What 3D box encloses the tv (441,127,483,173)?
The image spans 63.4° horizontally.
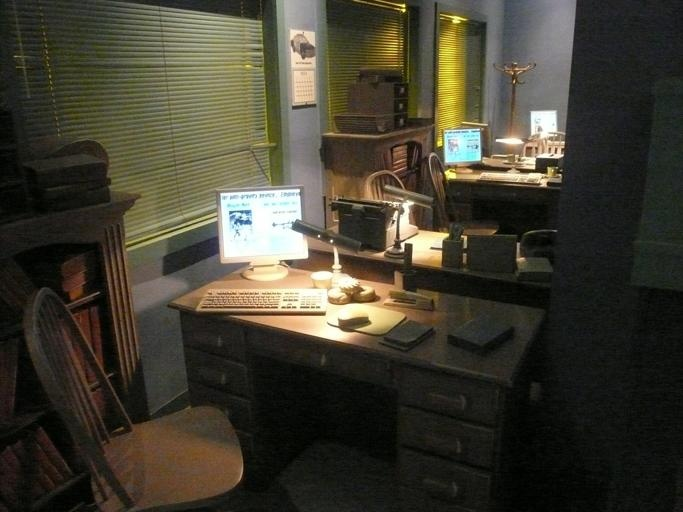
[{"bbox_3d":[0.799,-0.728,3.776,0.346,0.298,0.103,-10,14,-31],"label":"tv"}]

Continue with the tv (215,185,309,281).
[{"bbox_3d":[-0.282,-0.080,1.935,0.361,0.314,0.153,-6,10,-41],"label":"tv"}]

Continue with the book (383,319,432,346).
[{"bbox_3d":[0.183,0.206,1.477,0.064,0.017,0.083,12,24,42],"label":"book"}]

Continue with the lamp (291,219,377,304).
[{"bbox_3d":[-0.032,0.002,1.748,0.244,0.219,0.162,-1,5,-3],"label":"lamp"}]

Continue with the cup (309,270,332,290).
[{"bbox_3d":[-0.066,0.079,1.846,0.061,0.036,0.059,-2,18,1],"label":"cup"}]

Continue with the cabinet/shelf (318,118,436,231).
[{"bbox_3d":[0.262,-0.468,3.480,0.326,0.662,0.799,12,21,29],"label":"cabinet/shelf"}]

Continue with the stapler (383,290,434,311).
[{"bbox_3d":[0.213,0.127,1.670,0.108,0.031,0.072,5,14,22],"label":"stapler"}]

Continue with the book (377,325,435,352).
[{"bbox_3d":[0.182,0.211,1.474,0.070,0.019,0.090,11,25,36],"label":"book"}]

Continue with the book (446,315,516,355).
[{"bbox_3d":[0.398,0.203,1.484,0.224,0.043,0.108,-15,23,-39],"label":"book"}]

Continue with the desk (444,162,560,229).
[{"bbox_3d":[0.992,-0.368,3.416,0.527,0.335,0.283,8,24,25],"label":"desk"}]
